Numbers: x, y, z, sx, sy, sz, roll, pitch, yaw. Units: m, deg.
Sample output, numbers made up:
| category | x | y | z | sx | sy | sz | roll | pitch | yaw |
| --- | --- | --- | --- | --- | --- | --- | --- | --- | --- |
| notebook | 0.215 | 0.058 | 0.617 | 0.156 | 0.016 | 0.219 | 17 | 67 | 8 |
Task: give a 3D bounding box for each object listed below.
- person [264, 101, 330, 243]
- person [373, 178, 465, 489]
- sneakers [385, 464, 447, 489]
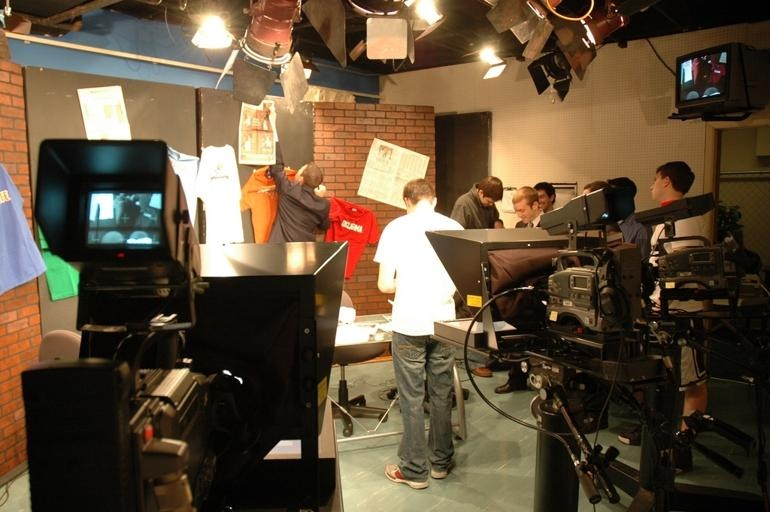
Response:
| category | x | y | z | sx | sy | sz | roll | pitch | yaw |
| --- | --- | --- | --- | --- | --- | --- | --- | --- | --- |
| person | -0.838 | -0.696 | 5.871 | 0.503 | 1.189 | 0.665 | 7 | 16 | 26 |
| person | 0.232 | 0.552 | 4.282 | 0.589 | 2.085 | 0.748 | 0 | 15 | 0 |
| sneakers | 0.218 | 1.565 | 4.338 | 0.395 | 0.153 | 0.157 | 10 | 6 | 44 |
